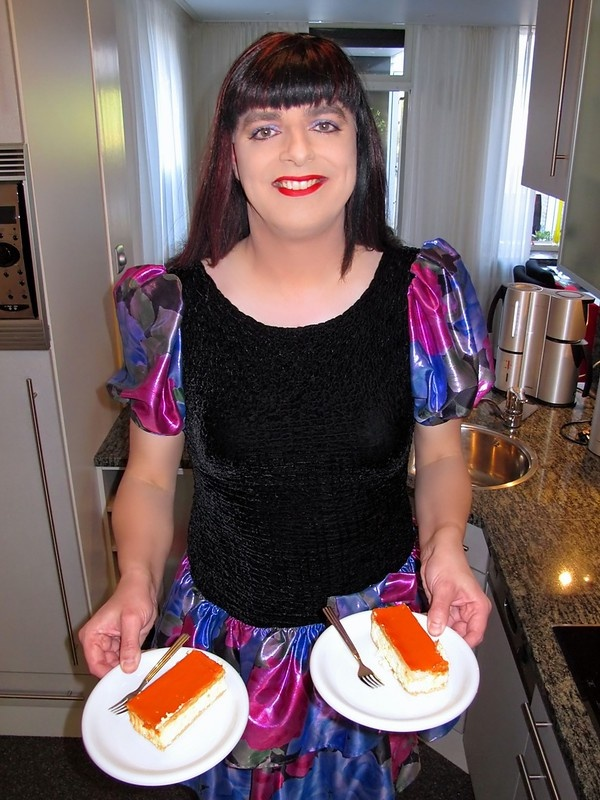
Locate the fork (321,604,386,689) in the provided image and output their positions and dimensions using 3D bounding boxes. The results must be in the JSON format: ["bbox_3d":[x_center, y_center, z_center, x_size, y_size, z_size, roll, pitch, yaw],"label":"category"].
[{"bbox_3d":[0.063,0.306,0.682,0.028,0.020,0.181,-1,25,-14],"label":"fork"}]

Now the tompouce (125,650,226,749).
[{"bbox_3d":[-0.134,0.318,0.598,0.047,0.033,0.075,17,25,32],"label":"tompouce"}]

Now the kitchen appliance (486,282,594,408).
[{"bbox_3d":[0.822,-0.169,1.864,0.134,0.370,0.321,-21,30,-38],"label":"kitchen appliance"}]
